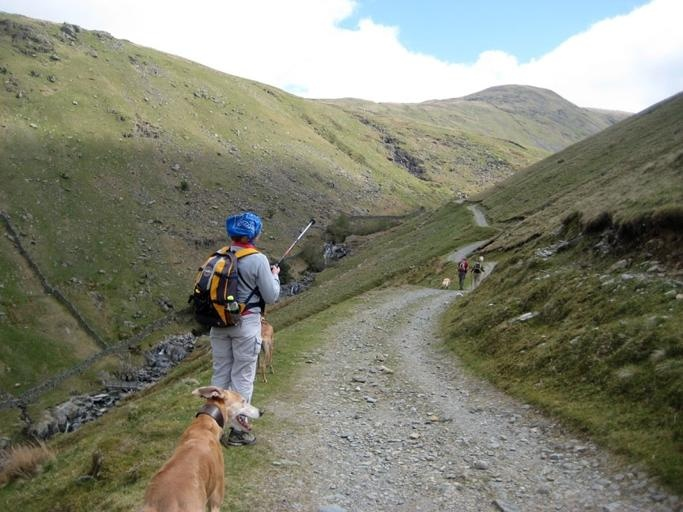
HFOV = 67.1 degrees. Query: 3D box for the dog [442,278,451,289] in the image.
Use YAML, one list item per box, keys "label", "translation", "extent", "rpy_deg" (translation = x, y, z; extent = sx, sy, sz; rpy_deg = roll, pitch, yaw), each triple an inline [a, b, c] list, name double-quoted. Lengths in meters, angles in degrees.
- label: "dog"
  translation: [9.457, 2.418, 46.100]
  extent: [0.723, 0.713, 1.688]
  rpy_deg: [-18, 3, 14]
